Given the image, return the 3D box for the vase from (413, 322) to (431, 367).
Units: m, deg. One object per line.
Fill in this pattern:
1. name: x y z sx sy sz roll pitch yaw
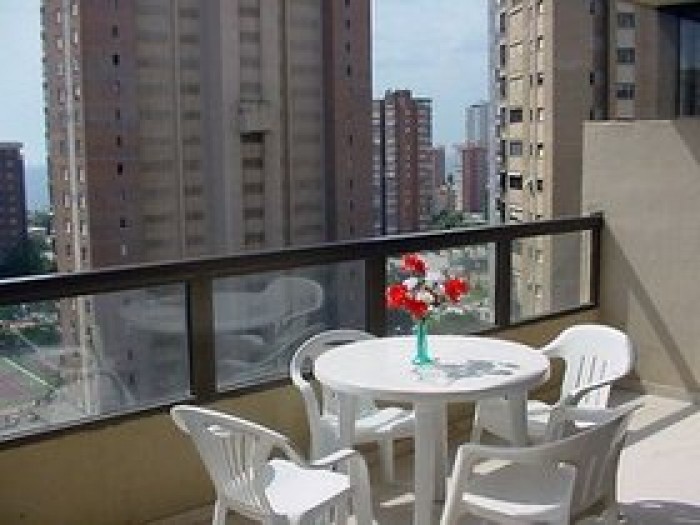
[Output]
1. vase: 0.340 0.357 3.397 0.085 0.209 0.291 -4 3 5

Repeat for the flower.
1. flower: 0.377 0.104 3.556 0.352 0.293 0.766 -5 3 5
